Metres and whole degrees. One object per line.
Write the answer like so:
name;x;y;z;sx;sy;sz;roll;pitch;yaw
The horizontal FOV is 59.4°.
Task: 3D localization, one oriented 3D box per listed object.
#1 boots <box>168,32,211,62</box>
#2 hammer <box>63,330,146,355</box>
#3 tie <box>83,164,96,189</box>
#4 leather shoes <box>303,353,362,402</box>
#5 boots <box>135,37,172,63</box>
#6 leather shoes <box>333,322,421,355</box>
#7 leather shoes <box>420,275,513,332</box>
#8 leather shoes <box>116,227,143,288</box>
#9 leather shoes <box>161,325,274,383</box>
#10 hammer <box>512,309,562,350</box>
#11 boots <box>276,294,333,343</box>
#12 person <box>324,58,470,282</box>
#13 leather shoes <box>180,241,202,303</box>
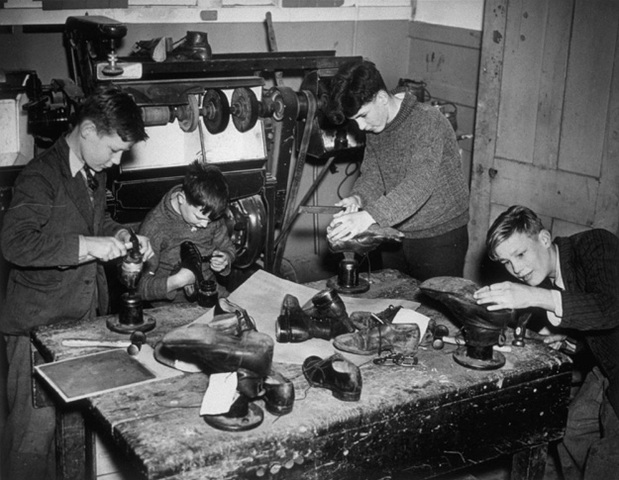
boots;-0.784;-1.242;3.488;0.267;0.187;0.378;-4;14;-11
hammer;-0.736;0.377;1.938;0.283;0.073;0.111;5;8;-9
tie;-0.968;-0.273;2.384;0.022;0.078;0.046;-7;7;15
leather shoes;0.085;0.437;1.780;0.199;0.131;0.142;7;3;27
boots;-0.961;-1.166;3.384;0.174;0.135;0.253;-9;19;-42
leather shoes;0.242;0.358;1.956;0.257;0.082;0.132;0;14;-1
leather shoes;0.548;0.209;1.890;0.278;0.111;0.226;4;-3;13
leather shoes;-0.690;0.075;2.072;0.108;0.239;0.072;28;30;20
leather shoes;-0.288;0.344;1.713;0.306;0.119;0.165;20;1;0
hammer;0.913;0.359;2.183;0.191;0.207;0.064;8;30;26
boots;-0.026;0.305;2.033;0.193;0.160;0.082;7;-28;-12
person;0.367;-0.267;2.547;0.628;1.100;0.905;5;16;26
leather shoes;-0.544;0.126;2.471;0.079;0.316;0.110;-4;6;-31
